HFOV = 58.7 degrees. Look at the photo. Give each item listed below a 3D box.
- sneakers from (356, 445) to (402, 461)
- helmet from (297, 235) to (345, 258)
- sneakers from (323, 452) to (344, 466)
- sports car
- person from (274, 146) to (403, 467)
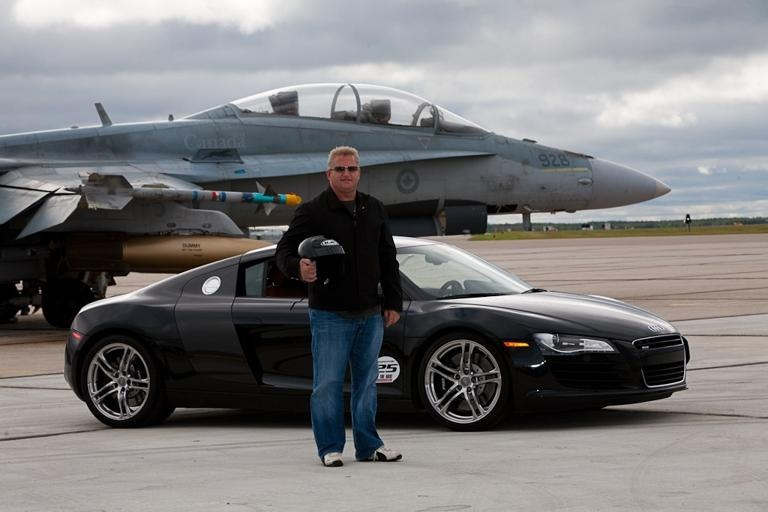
[{"bbox_3d":[-0.079,1.580,5.441,0.425,0.118,0.124,-3,-3,6],"label":"sneakers"},{"bbox_3d":[-0.483,-0.065,5.175,0.284,0.164,0.207,-7,7,-30],"label":"helmet"},{"bbox_3d":[-0.397,1.580,5.285,0.160,0.122,0.094,-4,7,-5],"label":"sneakers"},{"bbox_3d":[-0.281,0.791,7.124,5.685,1.094,2.411,-2,-2,11],"label":"sports car"},{"bbox_3d":[-0.311,0.391,5.385,0.951,2.497,0.600,-6,9,-5],"label":"person"}]
